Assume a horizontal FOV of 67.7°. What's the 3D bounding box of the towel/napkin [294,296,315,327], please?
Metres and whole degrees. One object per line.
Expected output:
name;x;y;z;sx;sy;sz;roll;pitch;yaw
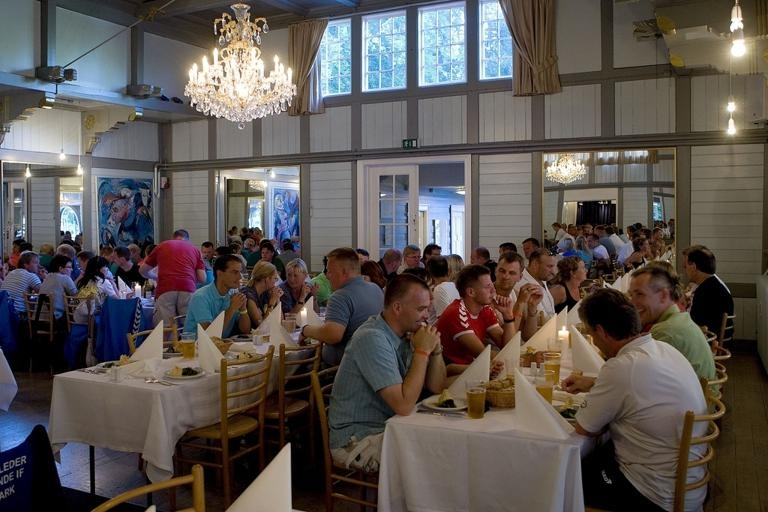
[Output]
towel/napkin;-0.808;0.567;5.776;0.185;0.261;0.250;7;20;28

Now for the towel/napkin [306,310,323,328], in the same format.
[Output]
towel/napkin;-0.670;0.600;5.489;0.136;0.144;0.146;-1;-3;4

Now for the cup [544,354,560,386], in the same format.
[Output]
cup;1.180;0.795;4.039;0.121;0.180;0.120;1;-4;0

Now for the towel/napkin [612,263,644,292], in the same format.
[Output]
towel/napkin;2.838;0.245;6.705;0.211;0.167;0.484;10;43;47

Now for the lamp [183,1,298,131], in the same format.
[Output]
lamp;-2.162;-2.904;8.585;1.423;1.579;0.922;1;4;13

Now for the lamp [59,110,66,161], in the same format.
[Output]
lamp;-6.410;-2.205;11.421;0.105;0.607;0.124;-2;4;-29

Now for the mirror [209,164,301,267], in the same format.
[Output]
mirror;-3.241;-1.064;15.158;2.465;2.980;0.135;-2;45;-17

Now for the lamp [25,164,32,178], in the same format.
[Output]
lamp;-8.068;-1.922;13.027;0.116;0.271;0.391;-3;4;-33

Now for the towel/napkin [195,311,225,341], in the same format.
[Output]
towel/napkin;-1.475;0.607;4.979;0.224;0.240;0.199;2;2;33

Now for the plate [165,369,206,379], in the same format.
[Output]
plate;-1.481;0.866;4.253;0.268;0.078;0.144;-2;4;-22

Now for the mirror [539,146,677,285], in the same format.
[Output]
mirror;5.558;-0.935;14.056;2.684;3.211;0.132;6;-7;42

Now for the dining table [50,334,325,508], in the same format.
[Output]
dining table;-1.841;1.027;4.359;1.078;0.742;1.438;1;1;22

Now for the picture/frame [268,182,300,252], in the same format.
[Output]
picture/frame;-2.539;-1.026;14.331;0.080;2.191;1.815;-1;-2;20

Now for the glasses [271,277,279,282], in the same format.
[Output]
glasses;-1.177;0.260;6.236;0.054;0.051;0.062;2;-6;-24

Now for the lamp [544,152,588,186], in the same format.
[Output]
lamp;4.605;-2.227;14.537;0.912;1.416;0.953;-1;4;-2

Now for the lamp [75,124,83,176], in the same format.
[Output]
lamp;-6.185;-2.151;11.665;0.132;1.004;0.379;-2;4;-27
